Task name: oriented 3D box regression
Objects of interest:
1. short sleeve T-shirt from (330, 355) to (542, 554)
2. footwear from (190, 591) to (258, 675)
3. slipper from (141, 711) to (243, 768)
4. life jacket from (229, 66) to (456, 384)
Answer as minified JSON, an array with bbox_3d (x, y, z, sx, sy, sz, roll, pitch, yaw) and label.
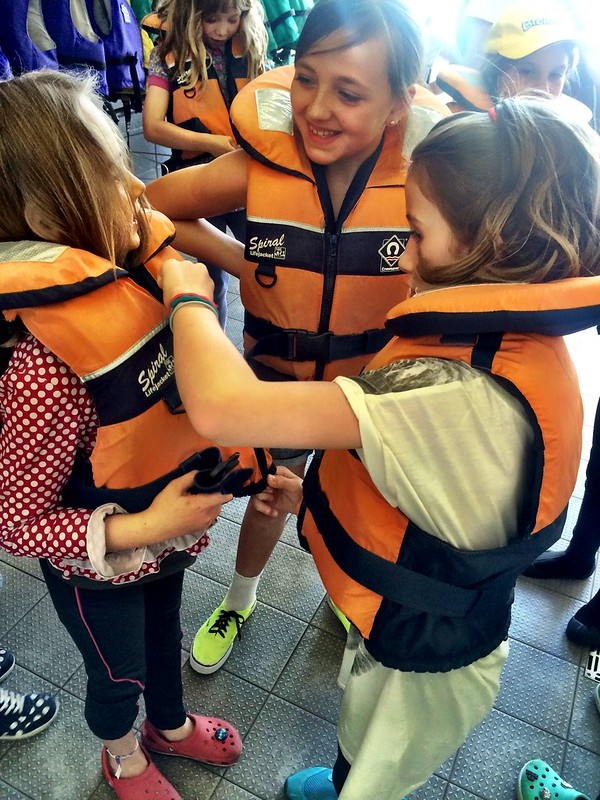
[{"bbox_3d":[0.209,0.080,0.845,0.151,0.244,0.270,-36,36,-29],"label":"short sleeve T-shirt"},{"bbox_3d":[-0.247,0.756,1.909,0.090,0.091,0.240,29,33,9],"label":"footwear"},{"bbox_3d":[-0.265,0.914,1.580,0.282,0.102,0.129,10,48,-16],"label":"slipper"},{"bbox_3d":[0.118,-0.398,1.611,0.513,0.744,0.424,6,20,15],"label":"life jacket"}]
